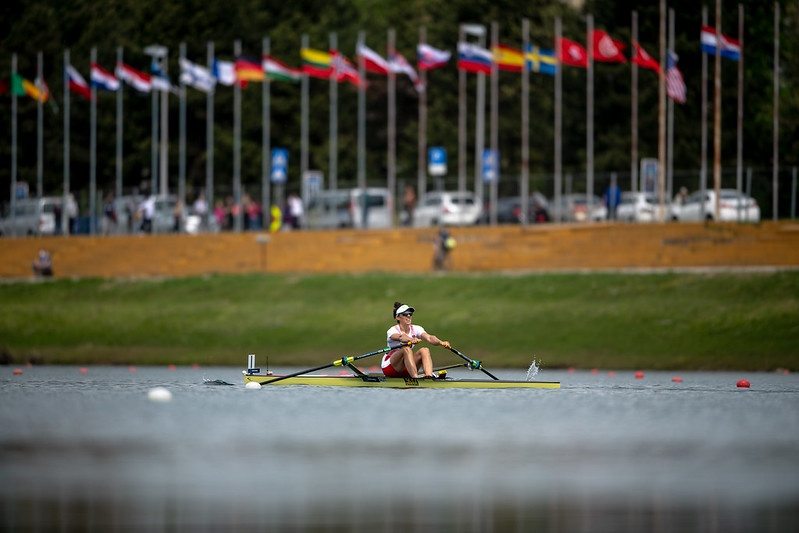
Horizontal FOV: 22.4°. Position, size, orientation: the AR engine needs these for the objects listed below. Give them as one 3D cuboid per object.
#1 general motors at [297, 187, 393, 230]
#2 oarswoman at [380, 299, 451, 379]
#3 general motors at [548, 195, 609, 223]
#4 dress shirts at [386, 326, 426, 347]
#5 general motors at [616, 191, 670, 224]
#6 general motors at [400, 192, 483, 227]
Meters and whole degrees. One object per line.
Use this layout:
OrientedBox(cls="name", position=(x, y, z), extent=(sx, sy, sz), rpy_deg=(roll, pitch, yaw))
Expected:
OrientedBox(cls="general motors", position=(-2.600, -3.050, 103.327), extent=(4.397, 2.036, 2.969), rpy_deg=(-3, 0, 6))
OrientedBox(cls="oarswoman", position=(0.373, 3.116, 84.219), extent=(2.147, 3.081, 0.926), rpy_deg=(-2, 0, -2))
OrientedBox(cls="general motors", position=(9.359, -3.066, 104.227), extent=(2.001, 1.247, 1.583), rpy_deg=(2, -3, -33))
OrientedBox(cls="dress shirts", position=(0.200, 2.806, 84.375), extent=(0.869, 0.972, 1.131), rpy_deg=(-1, 0, -20))
OrientedBox(cls="general motors", position=(12.314, -3.103, 103.372), extent=(1.809, 1.430, 4.216), rpy_deg=(-3, 0, -10))
OrientedBox(cls="general motors", position=(2.467, -2.992, 102.612), extent=(3.313, 1.701, 1.773), rpy_deg=(-3, 0, -1))
